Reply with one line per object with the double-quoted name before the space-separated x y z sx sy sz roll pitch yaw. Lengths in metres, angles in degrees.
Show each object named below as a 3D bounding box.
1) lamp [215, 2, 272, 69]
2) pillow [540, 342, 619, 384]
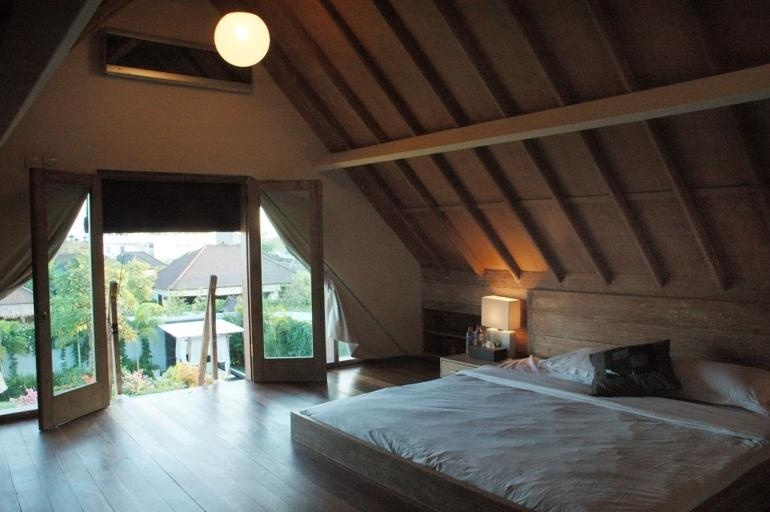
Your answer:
"lamp" -1.210 -1.796 4.494 0.600 0.514 0.311 12 7 -10
"pillow" 1.789 1.063 5.074 0.481 0.130 0.414 -12 2 -44
